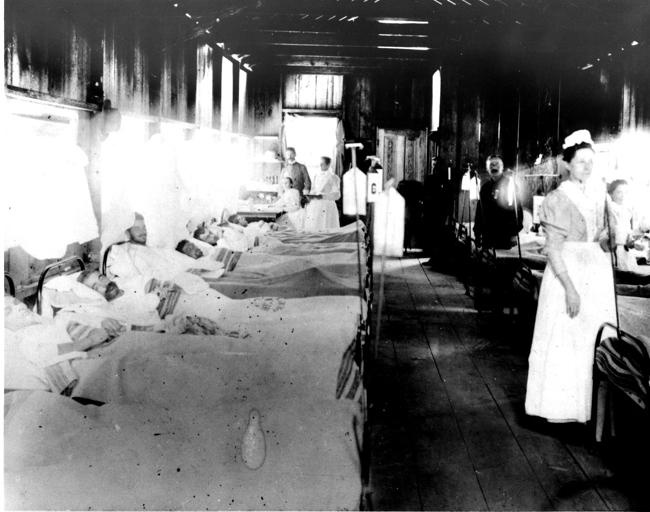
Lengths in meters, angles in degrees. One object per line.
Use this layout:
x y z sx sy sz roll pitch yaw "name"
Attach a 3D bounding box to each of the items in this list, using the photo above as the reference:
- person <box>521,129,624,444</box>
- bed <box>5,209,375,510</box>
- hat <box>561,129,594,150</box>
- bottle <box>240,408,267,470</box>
1.656 0.198 3.726 0.541 2.022 0.404 1 7 10 "person"
-0.730 0.753 3.226 2.006 1.130 1.347 -4 9 -18 "bed"
1.660 -0.763 3.670 0.159 0.130 0.233 4 10 26 "hat"
-0.368 0.934 2.848 0.134 0.274 0.089 -4 8 -25 "bottle"
